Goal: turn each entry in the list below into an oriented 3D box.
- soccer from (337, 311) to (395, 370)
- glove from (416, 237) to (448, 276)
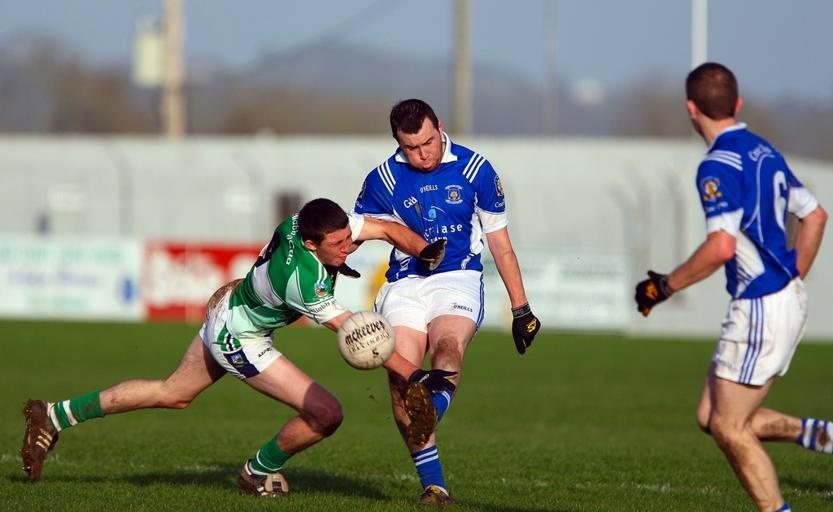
[{"bbox_3d":[-0.676,1.148,19.322,0.750,0.787,0.771,2,3,36],"label":"soccer"},{"bbox_3d":[0.203,-0.067,19.660,0.529,0.290,0.227,-2,43,-28],"label":"glove"}]
